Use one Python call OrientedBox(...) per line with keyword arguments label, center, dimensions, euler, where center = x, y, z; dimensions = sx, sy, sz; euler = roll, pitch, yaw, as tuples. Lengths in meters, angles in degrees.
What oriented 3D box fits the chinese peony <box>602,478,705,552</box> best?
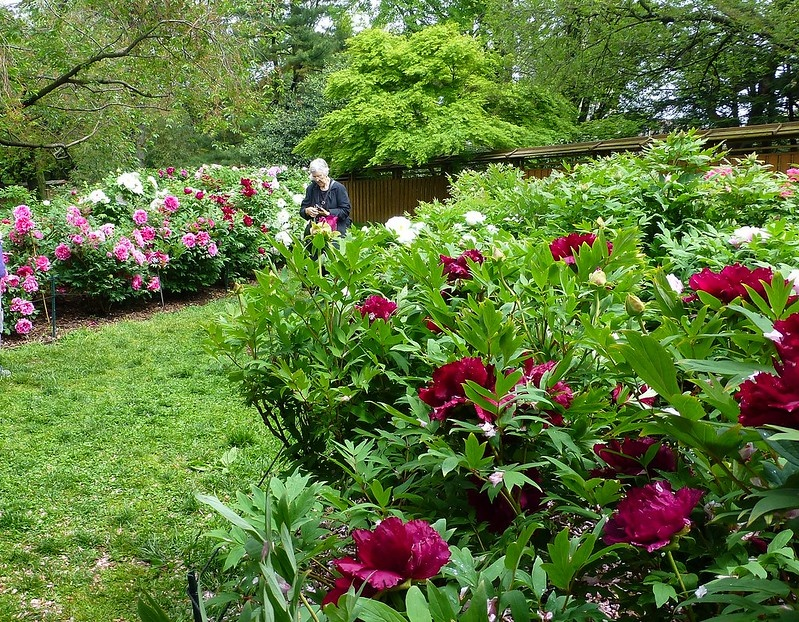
OrientedBox(label="chinese peony", center=(0.472, 0.369, 1.149), dimensions=(0.151, 0.095, 0.153), euler=(-10, 25, 42))
